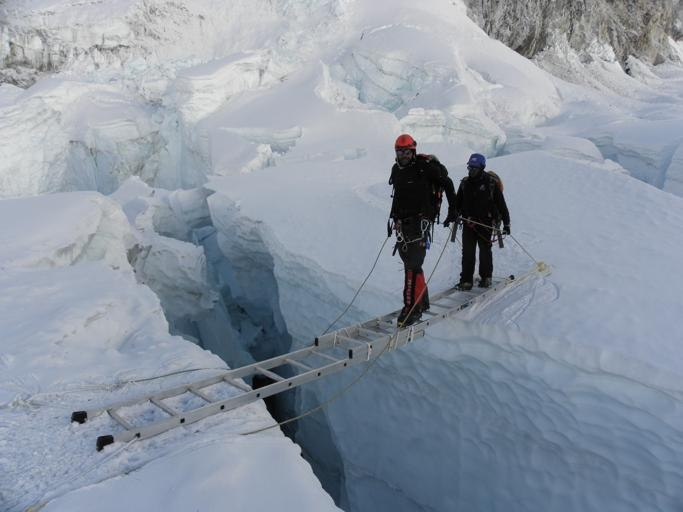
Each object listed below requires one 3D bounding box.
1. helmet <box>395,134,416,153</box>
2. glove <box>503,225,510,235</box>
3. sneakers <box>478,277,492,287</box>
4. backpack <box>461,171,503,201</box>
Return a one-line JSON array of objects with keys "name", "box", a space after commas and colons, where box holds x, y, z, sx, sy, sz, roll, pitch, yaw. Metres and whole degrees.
[{"name": "helmet", "box": [0.764, -1.351, 7.330, 0.182, 0.193, 0.237, 4, 22, 12]}, {"name": "glove", "box": [2.028, -0.327, 7.654, 0.074, 0.147, 0.102, 6, -9, -41]}, {"name": "sneakers", "box": [1.840, 0.335, 7.972, 0.152, 0.103, 0.088, 7, -12, -37]}, {"name": "backpack", "box": [1.894, -0.889, 7.835, 0.319, 0.354, 0.244, -3, 6, -32]}]
